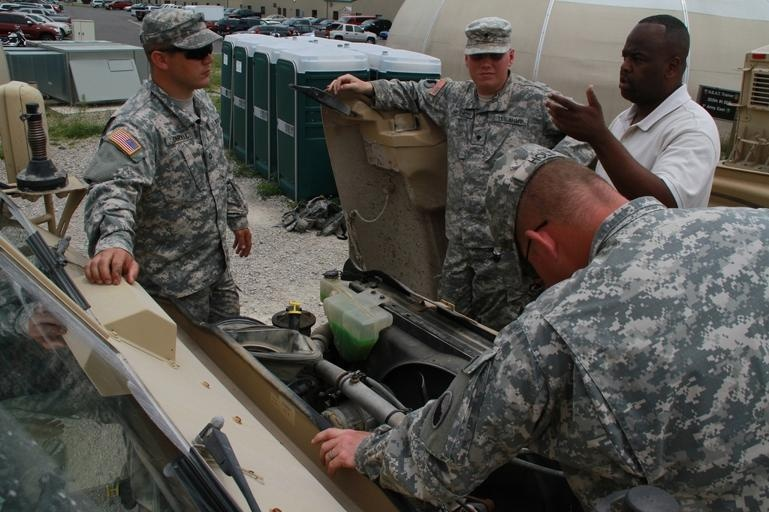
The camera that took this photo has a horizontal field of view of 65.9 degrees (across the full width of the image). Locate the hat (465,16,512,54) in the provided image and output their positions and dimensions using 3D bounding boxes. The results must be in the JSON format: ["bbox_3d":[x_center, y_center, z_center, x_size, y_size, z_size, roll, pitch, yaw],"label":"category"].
[{"bbox_3d":[0.667,-1.407,3.761,0.215,0.133,0.309,3,24,11],"label":"hat"}]

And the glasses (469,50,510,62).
[{"bbox_3d":[0.643,-1.239,3.677,0.215,0.054,0.069,2,23,3],"label":"glasses"}]

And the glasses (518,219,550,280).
[{"bbox_3d":[0.472,-0.018,1.903,0.052,0.154,0.111,28,-17,-28],"label":"glasses"}]

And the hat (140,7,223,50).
[{"bbox_3d":[-1.055,-1.147,3.079,0.332,0.132,0.241,-3,37,-12],"label":"hat"}]
